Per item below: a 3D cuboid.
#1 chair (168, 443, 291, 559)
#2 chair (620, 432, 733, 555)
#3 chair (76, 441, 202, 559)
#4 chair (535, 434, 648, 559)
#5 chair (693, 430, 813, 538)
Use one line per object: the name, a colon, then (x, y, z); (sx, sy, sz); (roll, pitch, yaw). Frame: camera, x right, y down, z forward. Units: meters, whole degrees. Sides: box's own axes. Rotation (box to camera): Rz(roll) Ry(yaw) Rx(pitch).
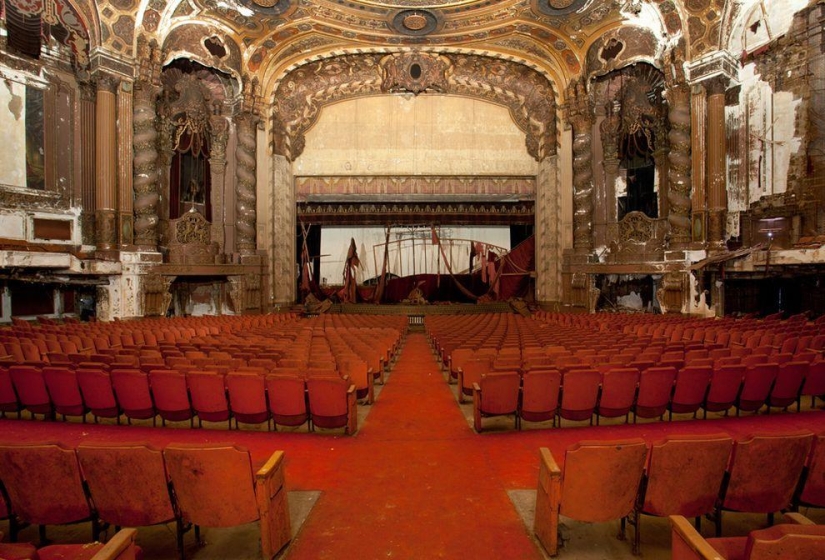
chair: (-3.062, 3.660, 12.159); (1.771, 2.108, 1.902); (0, 2, 7)
chair: (4.630, 3.604, 12.153); (1.721, 2.268, 1.825); (-4, 7, -12)
chair: (-4.936, 3.626, 12.157); (1.543, 2.188, 1.962); (-1, -3, 5)
chair: (2.847, 3.668, 12.277); (1.836, 2.144, 1.845); (1, 1, -2)
chair: (5.987, 3.496, 12.066); (1.686, 2.160, 1.634); (-5, 8, 6)
